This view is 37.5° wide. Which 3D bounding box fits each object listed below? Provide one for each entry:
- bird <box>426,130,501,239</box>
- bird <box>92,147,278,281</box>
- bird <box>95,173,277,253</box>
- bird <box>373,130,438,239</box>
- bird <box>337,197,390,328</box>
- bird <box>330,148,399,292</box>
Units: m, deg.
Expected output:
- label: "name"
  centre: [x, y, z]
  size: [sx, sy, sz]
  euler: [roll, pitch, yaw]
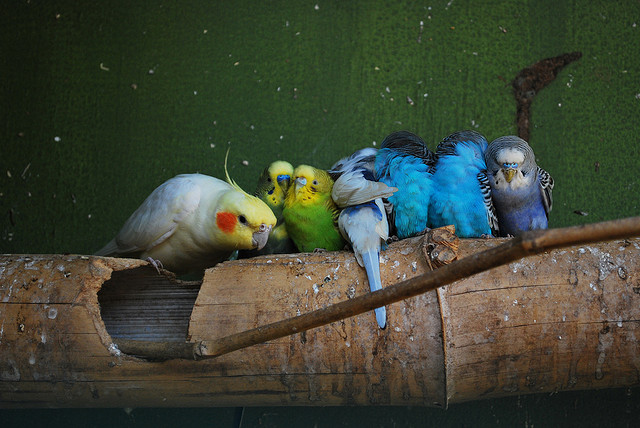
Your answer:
- label: "bird"
  centre: [0.629, -0.091, 4.350]
  size: [0.278, 0.472, 0.479]
  euler: [2, -38, 2]
- label: "bird"
  centre: [-0.754, 0.039, 4.662]
  size: [1.277, 0.658, 0.460]
  euler: [10, 5, 34]
- label: "bird"
  centre: [-0.611, 0.049, 4.440]
  size: [0.744, 0.389, 0.331]
  euler: [17, -8, 17]
- label: "bird"
  centre: [0.391, -0.140, 4.418]
  size: [0.354, 0.523, 0.284]
  euler: [-5, 11, -7]
- label: "bird"
  centre: [0.179, 0.205, 4.132]
  size: [0.161, 0.592, 0.229]
  euler: [-10, -26, 20]
- label: "bird"
  centre: [0.180, 0.018, 4.168]
  size: [0.225, 0.260, 0.592]
  euler: [-11, 37, 5]
